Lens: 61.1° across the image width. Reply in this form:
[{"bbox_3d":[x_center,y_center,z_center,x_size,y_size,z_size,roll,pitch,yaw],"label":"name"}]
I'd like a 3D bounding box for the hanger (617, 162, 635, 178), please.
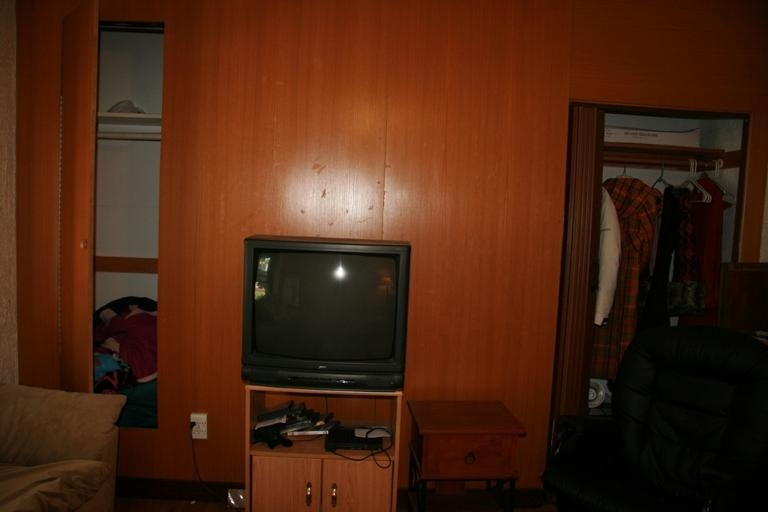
[{"bbox_3d":[1.800,-0.631,4.846,0.131,0.146,0.132,1,10,14],"label":"hanger"}]

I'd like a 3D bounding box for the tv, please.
[{"bbox_3d":[-0.360,0.360,3.968,0.927,0.853,0.477,2,1,0],"label":"tv"}]
